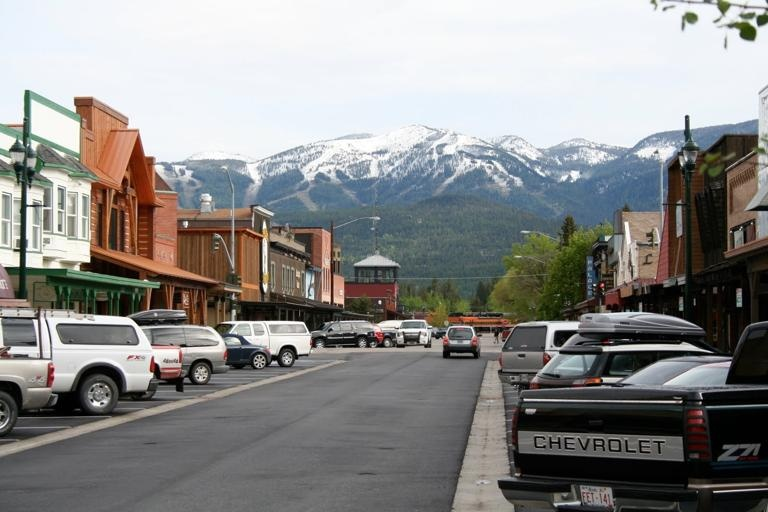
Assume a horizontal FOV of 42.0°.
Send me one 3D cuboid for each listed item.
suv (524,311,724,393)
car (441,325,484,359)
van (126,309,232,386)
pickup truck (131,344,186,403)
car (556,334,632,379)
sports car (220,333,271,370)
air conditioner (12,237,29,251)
[{"bbox_3d":[5.139,1.831,20.258,3.610,1.522,1.752,-3,2,-39],"label":"suv"},{"bbox_3d":[4.280,4.792,55.937,1.681,1.859,3.448,-3,-7,12],"label":"car"},{"bbox_3d":[-8.085,3.136,36.004,5.680,2.152,2.343,2,-4,-39],"label":"van"},{"bbox_3d":[-6.788,3.341,30.245,2.198,2.014,1.070,0,-2,2],"label":"pickup truck"},{"bbox_3d":[4.093,2.047,19.385,1.990,0.928,0.984,-1,0,28],"label":"car"},{"bbox_3d":[-5.751,4.036,41.899,1.901,0.856,1.154,3,-5,-9],"label":"sports car"},{"bbox_3d":[-12.621,-0.428,34.572,0.677,0.632,0.349,0,-4,-5],"label":"air conditioner"}]
